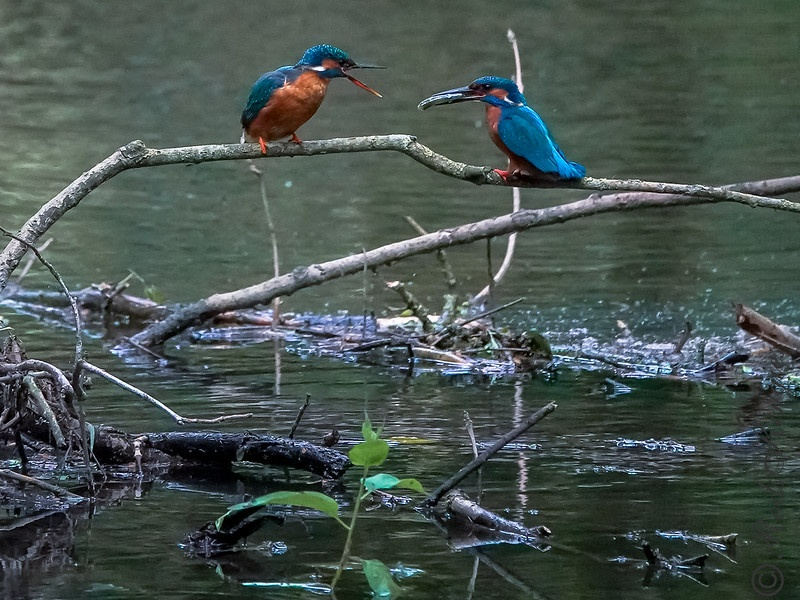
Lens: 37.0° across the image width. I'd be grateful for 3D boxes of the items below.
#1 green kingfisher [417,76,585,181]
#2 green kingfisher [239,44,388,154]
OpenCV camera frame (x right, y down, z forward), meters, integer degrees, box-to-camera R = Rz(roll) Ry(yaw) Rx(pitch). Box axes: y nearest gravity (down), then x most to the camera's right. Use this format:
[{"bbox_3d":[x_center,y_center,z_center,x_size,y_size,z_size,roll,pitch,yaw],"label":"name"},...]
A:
[{"bbox_3d":[0.756,-1.194,8.276,1.349,0.587,0.410,10,23,17],"label":"green kingfisher"},{"bbox_3d":[-0.633,-1.370,8.081,1.177,0.483,0.642,11,101,34],"label":"green kingfisher"}]
